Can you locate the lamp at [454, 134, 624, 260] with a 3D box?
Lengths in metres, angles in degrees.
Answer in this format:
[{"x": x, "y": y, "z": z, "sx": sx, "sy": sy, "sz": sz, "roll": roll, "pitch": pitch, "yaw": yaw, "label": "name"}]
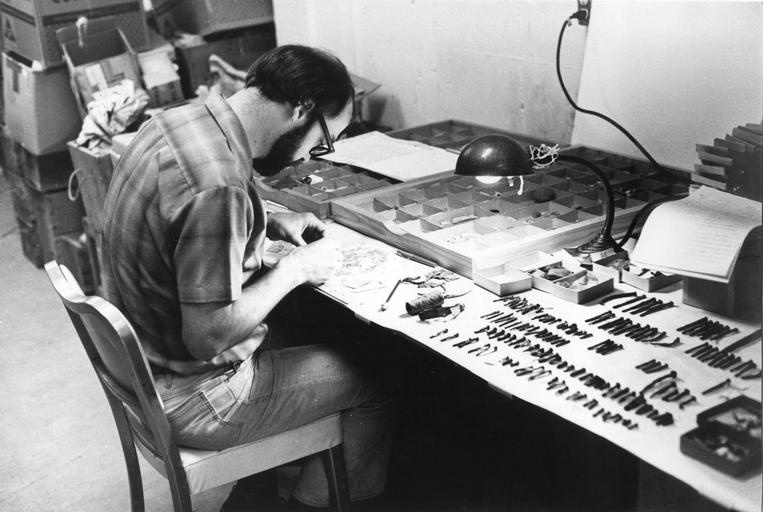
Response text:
[{"x": 0.609, "y": -0.224, "z": 2.184, "sx": 0.646, "sy": 0.379, "sz": 0.257, "roll": 4, "pitch": 14, "yaw": 6, "label": "lamp"}]
